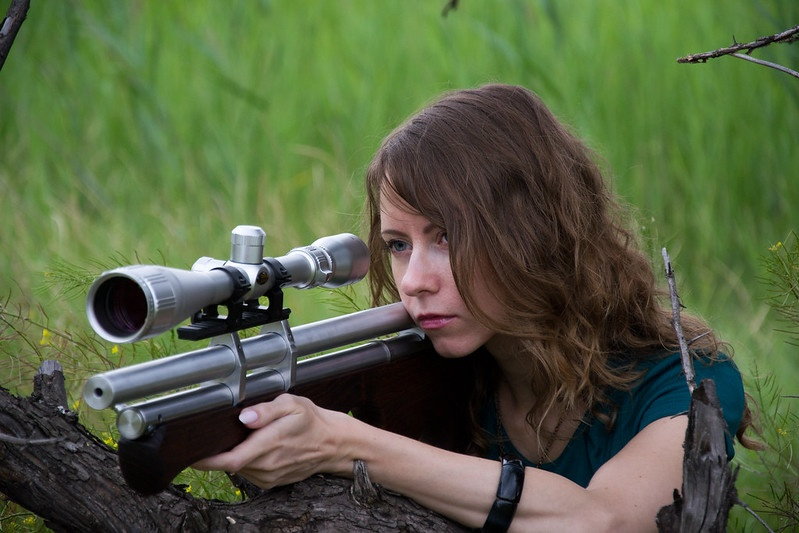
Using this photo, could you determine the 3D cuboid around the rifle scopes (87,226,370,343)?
[{"bbox_3d":[-0.590,0.028,3.341,0.338,0.422,1.328,8,10,26],"label":"rifle scopes"}]
